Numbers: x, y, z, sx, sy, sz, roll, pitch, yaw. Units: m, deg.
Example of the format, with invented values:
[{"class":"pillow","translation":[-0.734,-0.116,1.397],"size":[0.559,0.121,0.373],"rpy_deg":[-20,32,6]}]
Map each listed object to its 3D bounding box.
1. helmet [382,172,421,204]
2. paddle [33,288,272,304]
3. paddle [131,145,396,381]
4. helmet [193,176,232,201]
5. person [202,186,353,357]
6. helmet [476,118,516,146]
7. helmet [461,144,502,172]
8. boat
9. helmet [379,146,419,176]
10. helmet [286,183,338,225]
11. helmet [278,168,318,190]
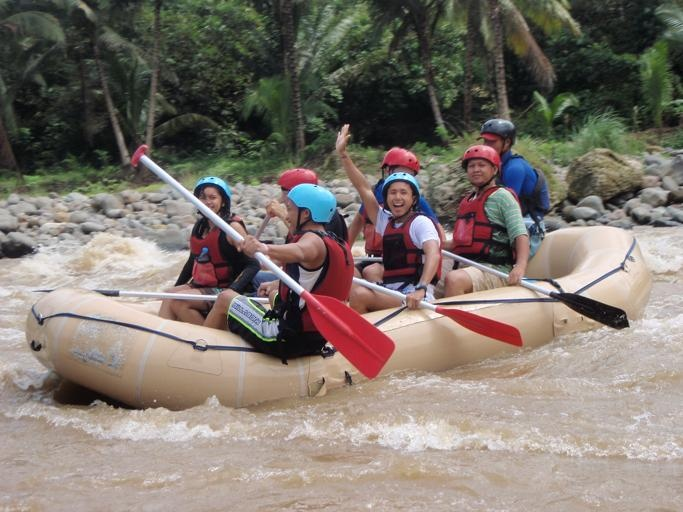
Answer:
[{"class":"helmet","translation":[0.507,-0.614,6.539],"size":[0.244,0.296,0.264],"rpy_deg":[0,-1,8]},{"class":"paddle","translation":[-1.603,0.350,6.469],"size":[1.150,0.058,0.181],"rpy_deg":[2,22,-3]},{"class":"paddle","translation":[-0.652,0.089,6.027],"size":[2.731,0.464,0.130],"rpy_deg":[39,56,20]},{"class":"helmet","translation":[-1.172,-0.617,6.732],"size":[0.229,0.267,0.226],"rpy_deg":[-7,-13,-3]},{"class":"person","translation":[-0.467,0.143,5.682],"size":[1.072,1.375,0.588],"rpy_deg":[-1,9,5]},{"class":"helmet","translation":[1.609,-1.265,7.598],"size":[0.354,0.188,0.257],"rpy_deg":[-5,19,-23]},{"class":"helmet","translation":[1.325,-0.943,7.077],"size":[0.233,0.283,0.236],"rpy_deg":[6,12,19]},{"class":"boat","translation":[0.243,0.660,6.313],"size":[4.220,0.735,2.143],"rpy_deg":[-5,4,-29]},{"class":"helmet","translation":[0.553,-0.912,7.125],"size":[0.330,0.232,0.237],"rpy_deg":[9,10,12]},{"class":"helmet","translation":[-0.237,-0.373,5.660],"size":[0.389,0.234,0.269],"rpy_deg":[10,-7,-6]},{"class":"helmet","translation":[-0.429,-0.739,7.051],"size":[0.409,0.131,0.269],"rpy_deg":[2,7,-3]}]
